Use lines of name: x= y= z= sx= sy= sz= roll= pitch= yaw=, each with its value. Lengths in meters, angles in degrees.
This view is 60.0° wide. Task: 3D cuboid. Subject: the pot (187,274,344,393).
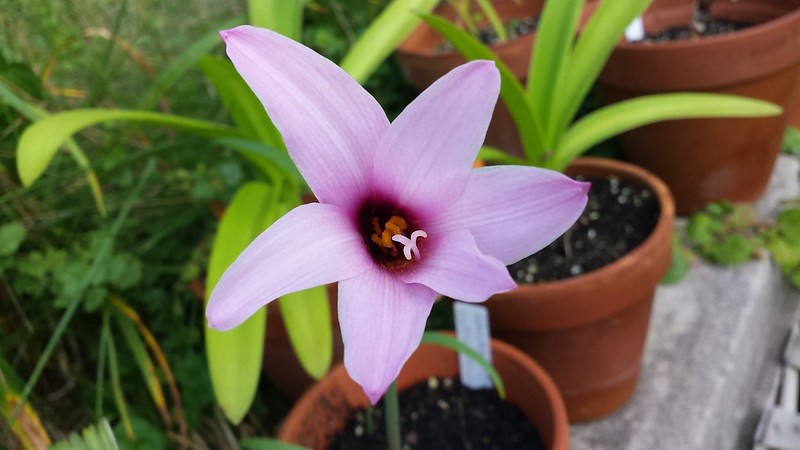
pot: x=-0.368 y=0.332 z=1.971 sx=0.350 sy=0.496 sz=0.337 roll=0 pitch=51 yaw=0
